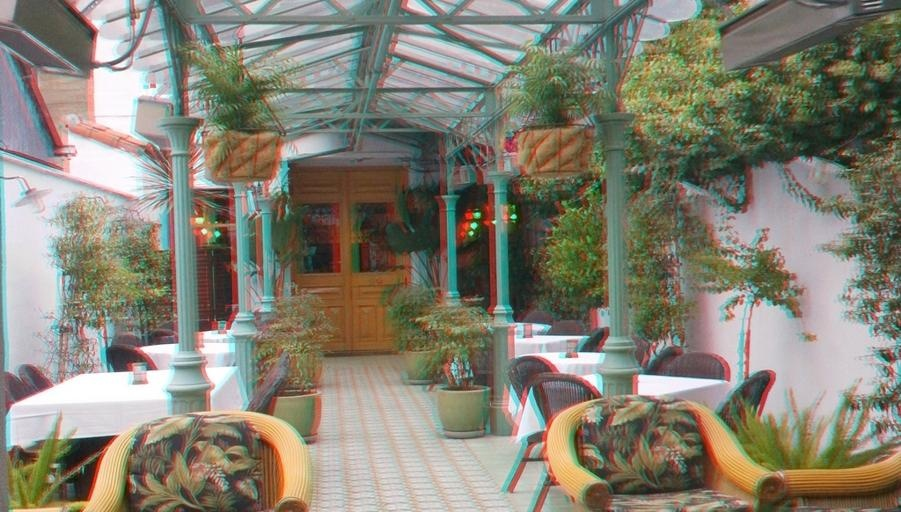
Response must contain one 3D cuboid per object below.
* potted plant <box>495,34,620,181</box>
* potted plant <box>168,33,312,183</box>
[{"bbox_3d":[0.824,-1.228,6.842,0.893,1.114,0.958,-2,1,-11],"label":"potted plant"},{"bbox_3d":[-1.748,-1.000,6.976,1.245,1.237,0.999,6,-11,-34],"label":"potted plant"}]
